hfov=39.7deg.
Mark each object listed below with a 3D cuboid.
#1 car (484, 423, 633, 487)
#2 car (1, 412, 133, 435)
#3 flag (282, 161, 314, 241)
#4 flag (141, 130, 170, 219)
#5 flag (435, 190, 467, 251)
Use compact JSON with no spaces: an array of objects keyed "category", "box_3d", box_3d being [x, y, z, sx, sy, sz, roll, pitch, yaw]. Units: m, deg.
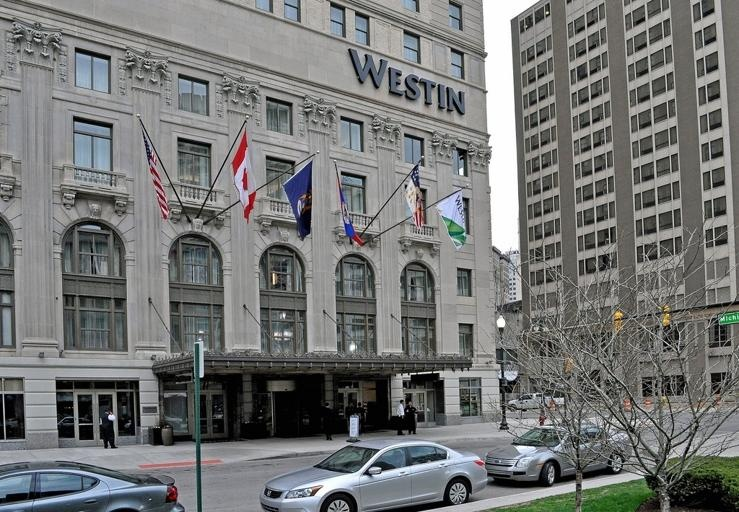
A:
[{"category":"car","box_3d":[8.830,9.178,46.615,7.539,2.602,3.819,6,-15,-41]},{"category":"car","box_3d":[-17.070,10.088,60.941,8.405,1.405,1.994,10,-10,-40]},{"category":"flag","box_3d":[-4.170,-3.318,61.213,1.513,4.326,1.226,-4,3,-3]},{"category":"flag","box_3d":[-12.945,-5.254,61.490,0.555,5.630,1.151,-13,-9,-25]},{"category":"flag","box_3d":[5.319,-2.277,65.380,1.097,3.573,2.175,-2,4,36]}]
